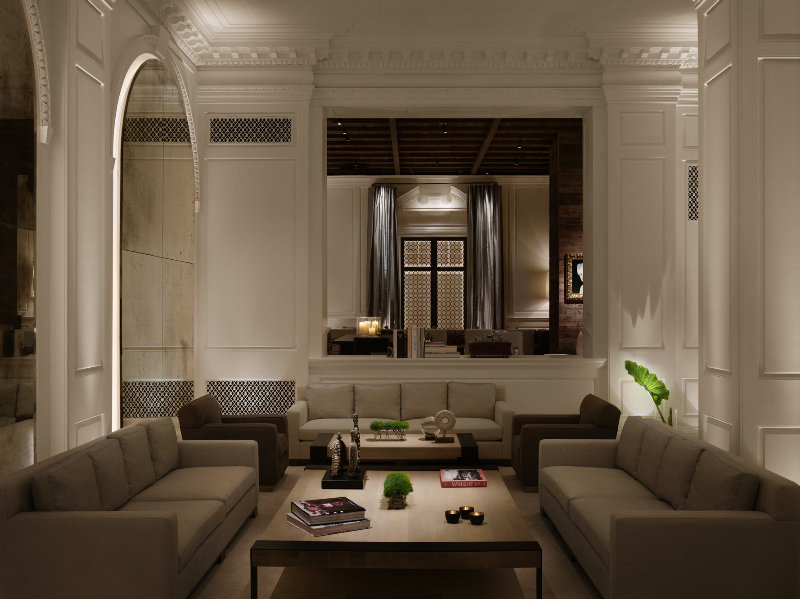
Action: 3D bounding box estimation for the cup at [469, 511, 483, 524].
[{"bbox_3d":[0.510,1.447,4.195,0.060,0.048,0.066,-2,-8,0],"label":"cup"}]

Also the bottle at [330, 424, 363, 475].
[{"bbox_3d":[-0.430,1.212,5.121,0.286,0.466,0.394,0,0,1],"label":"bottle"}]

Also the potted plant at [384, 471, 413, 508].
[{"bbox_3d":[-0.004,1.335,4.486,0.178,0.238,0.201,0,0,-4],"label":"potted plant"}]

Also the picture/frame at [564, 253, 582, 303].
[{"bbox_3d":[2.786,-0.329,10.267,0.285,0.791,0.208,0,2,5],"label":"picture/frame"}]

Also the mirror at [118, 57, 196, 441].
[{"bbox_3d":[-2.663,-0.613,6.936,0.399,3.896,1.191,0,2,5],"label":"mirror"}]

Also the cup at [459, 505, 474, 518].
[{"bbox_3d":[0.455,1.432,4.275,0.064,0.054,0.070,0,-4,0],"label":"cup"}]

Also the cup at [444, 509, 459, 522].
[{"bbox_3d":[0.347,1.446,4.224,0.064,0.049,0.065,-2,-5,0],"label":"cup"}]

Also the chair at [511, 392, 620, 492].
[{"bbox_3d":[1.627,1.428,6.366,1.015,0.912,1.067,1,-3,17],"label":"chair"}]

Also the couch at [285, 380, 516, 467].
[{"bbox_3d":[0.001,1.354,6.841,2.340,1.033,0.886,0,-11,2],"label":"couch"}]

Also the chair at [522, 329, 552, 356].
[{"bbox_3d":[2.580,0.787,12.002,0.356,0.576,0.502,-1,-12,12],"label":"chair"}]

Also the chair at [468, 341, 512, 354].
[{"bbox_3d":[1.080,0.596,7.689,0.479,0.175,0.213,0,2,-1],"label":"chair"}]

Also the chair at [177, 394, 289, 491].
[{"bbox_3d":[-1.606,1.423,6.342,1.105,0.930,1.169,-4,-5,17],"label":"chair"}]

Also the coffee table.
[{"bbox_3d":[-0.023,1.630,4.300,1.720,0.452,1.118,-1,2,-6],"label":"coffee table"}]
